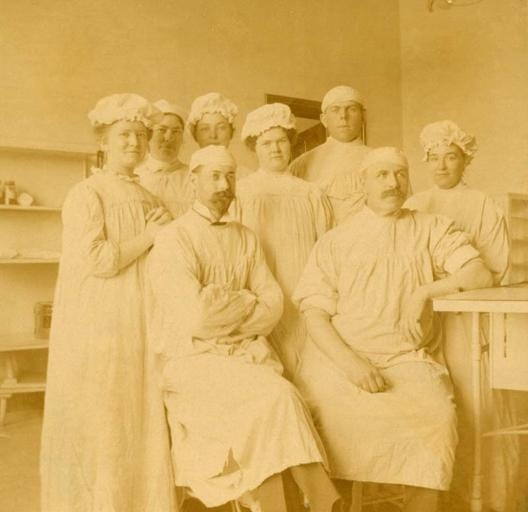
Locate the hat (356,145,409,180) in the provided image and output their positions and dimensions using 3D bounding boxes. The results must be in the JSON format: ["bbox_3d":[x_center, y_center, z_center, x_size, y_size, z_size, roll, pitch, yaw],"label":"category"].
[{"bbox_3d":[0.387,-0.300,2.723,0.152,0.087,0.181,-3,2,3],"label":"hat"}]

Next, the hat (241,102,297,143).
[{"bbox_3d":[0.014,-0.465,2.861,0.181,0.100,0.087,-5,4,-1],"label":"hat"}]

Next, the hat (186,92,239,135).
[{"bbox_3d":[-0.179,-0.486,2.895,0.114,0.130,0.048,3,46,-10],"label":"hat"}]

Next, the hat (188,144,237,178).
[{"bbox_3d":[-0.150,-0.289,2.600,0.107,0.064,0.083,-11,-6,29],"label":"hat"}]
